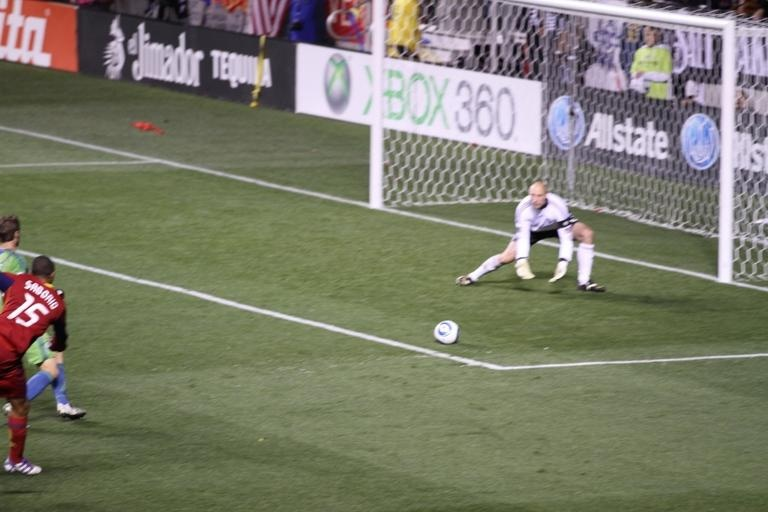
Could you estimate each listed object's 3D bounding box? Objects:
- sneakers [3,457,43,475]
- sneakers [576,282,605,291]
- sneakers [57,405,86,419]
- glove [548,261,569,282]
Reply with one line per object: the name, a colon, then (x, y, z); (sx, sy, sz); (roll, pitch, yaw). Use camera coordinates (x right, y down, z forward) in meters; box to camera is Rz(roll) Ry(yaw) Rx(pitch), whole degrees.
sneakers: (-3.273, 1.929, 12.166); (0.408, 0.144, 0.121); (4, 37, -15)
sneakers: (2.446, 0.378, 15.870); (0.337, 0.111, 0.109); (-1, 2, 18)
sneakers: (-3.027, 1.531, 12.942); (0.362, 0.131, 0.105); (3, 33, -6)
glove: (2.080, 0.153, 15.497); (0.195, 0.119, 0.305); (-17, 30, 44)
